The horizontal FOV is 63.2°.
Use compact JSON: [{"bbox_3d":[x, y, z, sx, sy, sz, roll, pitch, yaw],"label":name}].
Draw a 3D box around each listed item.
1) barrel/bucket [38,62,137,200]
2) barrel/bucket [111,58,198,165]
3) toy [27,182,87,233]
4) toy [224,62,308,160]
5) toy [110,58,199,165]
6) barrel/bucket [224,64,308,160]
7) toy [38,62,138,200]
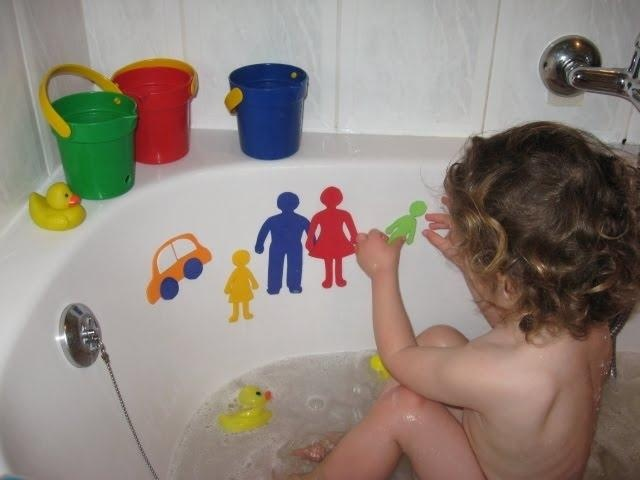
[{"bbox_3d":[-0.429,-0.209,1.031,0.150,0.228,0.173,17,27,28],"label":"barrel/bucket"},{"bbox_3d":[-0.343,-0.275,1.123,0.201,0.213,0.238,-5,39,-16],"label":"barrel/bucket"},{"bbox_3d":[-0.478,-0.065,0.952,0.093,0.079,0.079,1,30,-19],"label":"toy"},{"bbox_3d":[-0.121,-0.295,1.188,0.177,0.177,0.180,-21,42,-28],"label":"toy"},{"bbox_3d":[-0.354,-0.271,1.169,0.153,0.165,0.173,-11,25,-18],"label":"toy"},{"bbox_3d":[-0.120,-0.294,1.187,0.184,0.177,0.176,2,36,-1],"label":"barrel/bucket"},{"bbox_3d":[-0.439,-0.212,1.028,0.161,0.232,0.182,11,30,8],"label":"toy"}]
